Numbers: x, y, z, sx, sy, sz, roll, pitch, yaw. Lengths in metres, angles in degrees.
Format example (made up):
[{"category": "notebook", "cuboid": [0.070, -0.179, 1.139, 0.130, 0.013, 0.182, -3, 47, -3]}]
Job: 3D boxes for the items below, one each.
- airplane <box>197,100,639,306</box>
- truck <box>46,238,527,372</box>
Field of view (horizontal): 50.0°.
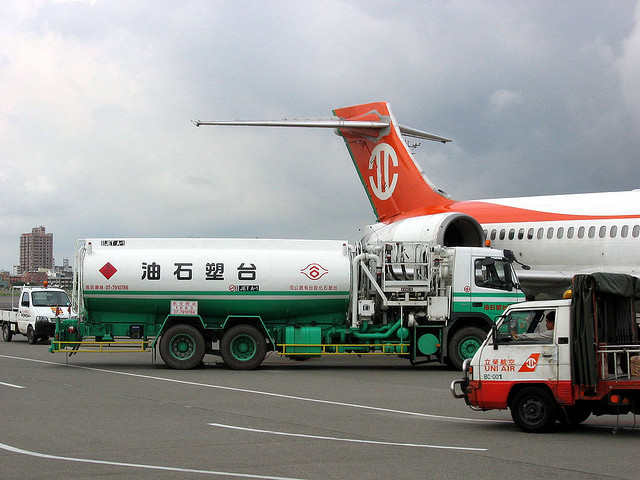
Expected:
[{"category": "airplane", "cuboid": [5.811, -0.751, 26.742, 11.153, 3.946, 10.793, -4, 3, -43]}, {"category": "truck", "cuboid": [-1.127, 1.745, 21.631, 17.473, 5.019, 4.910, -1, 1, -3]}]
